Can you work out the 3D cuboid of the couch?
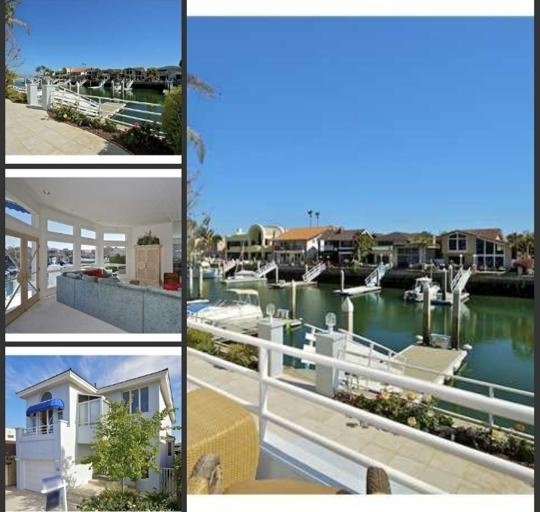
[{"bbox_3d":[-2.614,0.708,7.060,3.448,1.087,0.318,-8,-7,41],"label":"couch"}]

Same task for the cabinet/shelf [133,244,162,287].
[{"bbox_3d":[-3.184,0.233,11.218,0.942,1.438,0.294,-2,-3,27],"label":"cabinet/shelf"}]

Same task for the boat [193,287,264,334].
[{"bbox_3d":[-1.708,2.726,20.917,1.995,2.367,5.717,-2,-6,38],"label":"boat"}]

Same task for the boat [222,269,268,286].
[{"bbox_3d":[-2.080,1.862,36.197,2.341,0.949,1.706,-2,3,-32],"label":"boat"}]
